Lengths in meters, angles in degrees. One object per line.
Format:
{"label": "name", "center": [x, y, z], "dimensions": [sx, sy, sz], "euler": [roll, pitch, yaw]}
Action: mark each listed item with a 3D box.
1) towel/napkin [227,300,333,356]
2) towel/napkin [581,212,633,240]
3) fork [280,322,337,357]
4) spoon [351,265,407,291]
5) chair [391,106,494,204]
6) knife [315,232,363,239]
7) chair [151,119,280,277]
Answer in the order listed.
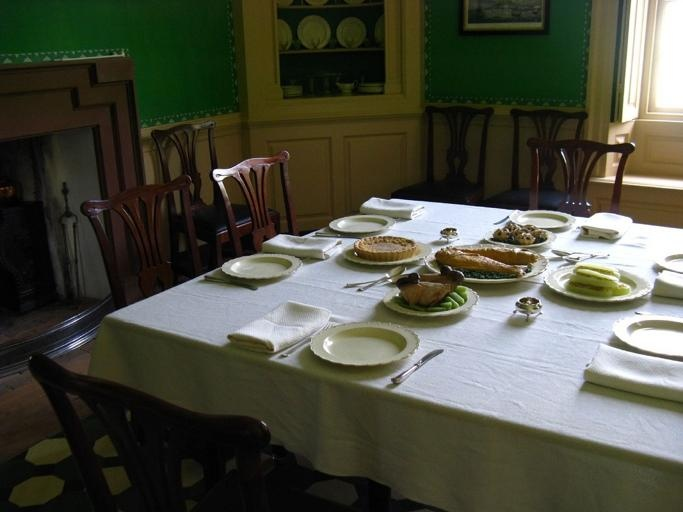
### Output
{"label": "towel/napkin", "center": [-0.155, 0.190, 1.309], "dimensions": [0.134, 0.037, 0.163], "euler": [11, 22, 30]}
{"label": "towel/napkin", "center": [1.049, -0.127, 1.957], "dimensions": [0.131, 0.041, 0.173], "euler": [15, 27, 38]}
{"label": "fork", "center": [-0.089, 0.217, 1.267], "dimensions": [0.127, 0.010, 0.015], "euler": [-29, 41, -30]}
{"label": "spoon", "center": [0.141, 0.057, 1.647], "dimensions": [0.054, 0.038, 0.296], "euler": [18, 28, 40]}
{"label": "chair", "center": [0.840, -0.855, 4.073], "dimensions": [0.692, 1.125, 0.724], "euler": [10, 27, 24]}
{"label": "knife", "center": [-0.009, -0.085, 2.044], "dimensions": [0.251, 0.012, 0.027], "euler": [2, 47, 24]}
{"label": "chair", "center": [-0.852, -0.305, 3.416], "dimensions": [0.753, 1.040, 0.721], "euler": [8, 24, 9]}
